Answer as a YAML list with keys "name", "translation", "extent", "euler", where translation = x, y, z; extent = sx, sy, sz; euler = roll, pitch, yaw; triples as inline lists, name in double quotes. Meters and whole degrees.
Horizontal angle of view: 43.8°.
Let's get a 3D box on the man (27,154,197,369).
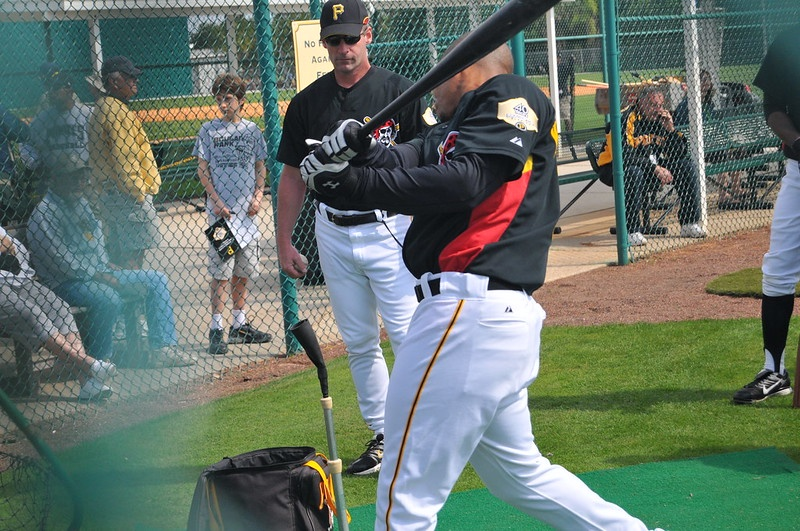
- name: "man"
  translation: [-2.033, 0.006, 7.052]
  extent: [0.949, 1.605, 0.831]
  euler: [-4, 7, 1]
